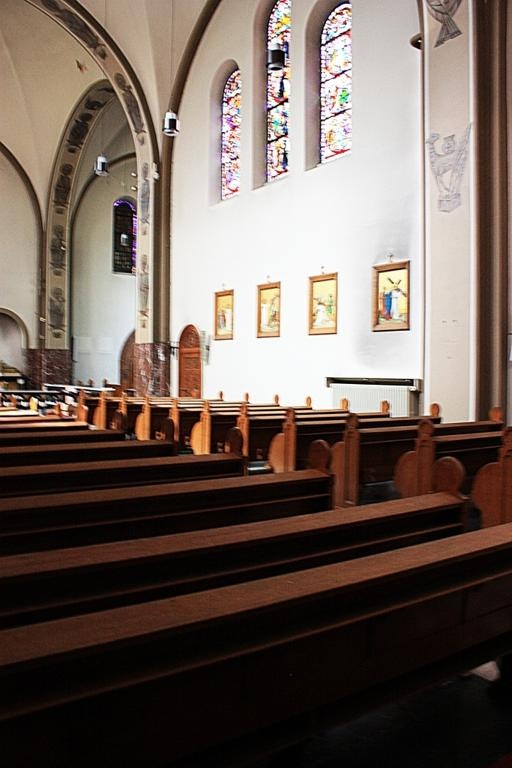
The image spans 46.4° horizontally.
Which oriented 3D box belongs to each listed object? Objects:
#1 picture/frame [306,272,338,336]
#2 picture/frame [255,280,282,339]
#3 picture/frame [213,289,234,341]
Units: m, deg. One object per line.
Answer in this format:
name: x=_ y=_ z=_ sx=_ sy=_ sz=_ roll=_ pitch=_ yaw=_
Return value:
picture/frame: x=1.095 y=-1.295 z=9.780 sx=0.114 sy=0.854 sz=0.723 roll=3 pitch=3 yaw=-32
picture/frame: x=0.230 y=-1.346 z=10.973 sx=0.071 sy=0.819 sz=0.753 roll=3 pitch=3 yaw=-36
picture/frame: x=-0.663 y=-1.395 z=12.210 sx=0.135 sy=0.780 sz=0.723 roll=3 pitch=3 yaw=-31
